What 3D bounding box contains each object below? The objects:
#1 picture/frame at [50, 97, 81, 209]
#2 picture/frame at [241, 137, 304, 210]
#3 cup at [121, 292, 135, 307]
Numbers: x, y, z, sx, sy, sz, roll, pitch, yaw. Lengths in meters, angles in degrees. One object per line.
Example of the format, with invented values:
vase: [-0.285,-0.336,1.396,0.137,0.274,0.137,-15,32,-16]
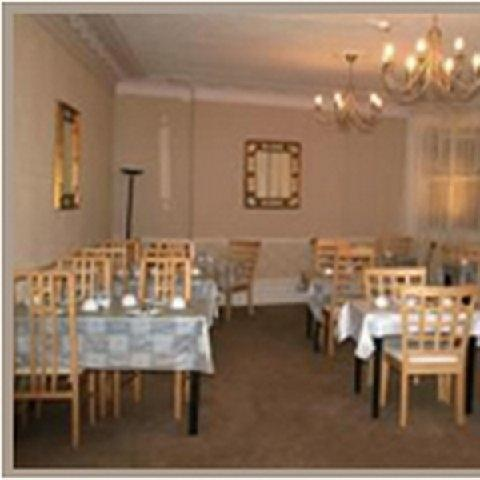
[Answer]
picture/frame: [-0.720,-0.352,2.475,0.096,0.445,0.021,0,-1,19]
picture/frame: [0.138,-0.271,2.404,0.256,0.340,0.021,0,3,3]
cup: [-0.461,0.246,2.438,0.048,0.039,0.051,-3,-6,0]
